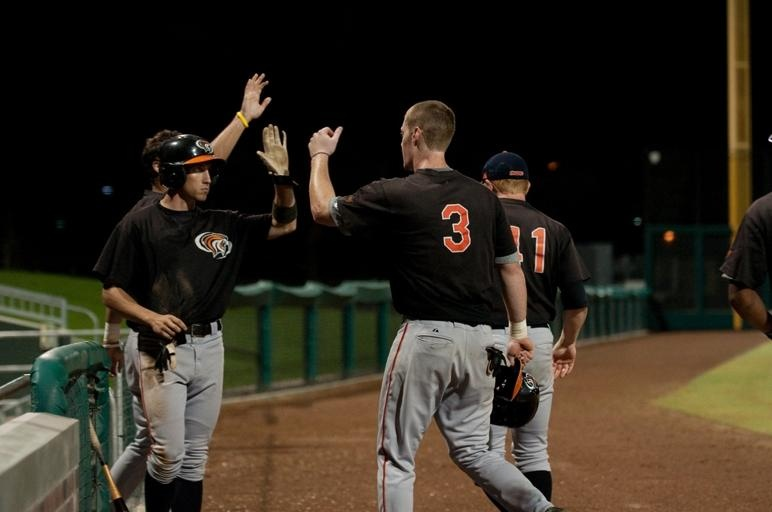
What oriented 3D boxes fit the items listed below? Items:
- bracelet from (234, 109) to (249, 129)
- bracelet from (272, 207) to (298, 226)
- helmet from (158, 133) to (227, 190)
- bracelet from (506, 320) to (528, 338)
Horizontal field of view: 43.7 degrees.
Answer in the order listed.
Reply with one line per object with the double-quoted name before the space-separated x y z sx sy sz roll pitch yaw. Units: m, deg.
"bracelet" -1.393 -1.327 9.350 0.053 0.142 0.121 -29 38 6
"bracelet" -0.932 -0.373 8.825 0.169 0.121 0.175 1 5 19
"helmet" -1.744 -0.842 8.700 0.537 0.444 0.422 0 10 9
"bracelet" 1.199 0.655 8.682 0.146 0.147 0.149 0 -2 -4
